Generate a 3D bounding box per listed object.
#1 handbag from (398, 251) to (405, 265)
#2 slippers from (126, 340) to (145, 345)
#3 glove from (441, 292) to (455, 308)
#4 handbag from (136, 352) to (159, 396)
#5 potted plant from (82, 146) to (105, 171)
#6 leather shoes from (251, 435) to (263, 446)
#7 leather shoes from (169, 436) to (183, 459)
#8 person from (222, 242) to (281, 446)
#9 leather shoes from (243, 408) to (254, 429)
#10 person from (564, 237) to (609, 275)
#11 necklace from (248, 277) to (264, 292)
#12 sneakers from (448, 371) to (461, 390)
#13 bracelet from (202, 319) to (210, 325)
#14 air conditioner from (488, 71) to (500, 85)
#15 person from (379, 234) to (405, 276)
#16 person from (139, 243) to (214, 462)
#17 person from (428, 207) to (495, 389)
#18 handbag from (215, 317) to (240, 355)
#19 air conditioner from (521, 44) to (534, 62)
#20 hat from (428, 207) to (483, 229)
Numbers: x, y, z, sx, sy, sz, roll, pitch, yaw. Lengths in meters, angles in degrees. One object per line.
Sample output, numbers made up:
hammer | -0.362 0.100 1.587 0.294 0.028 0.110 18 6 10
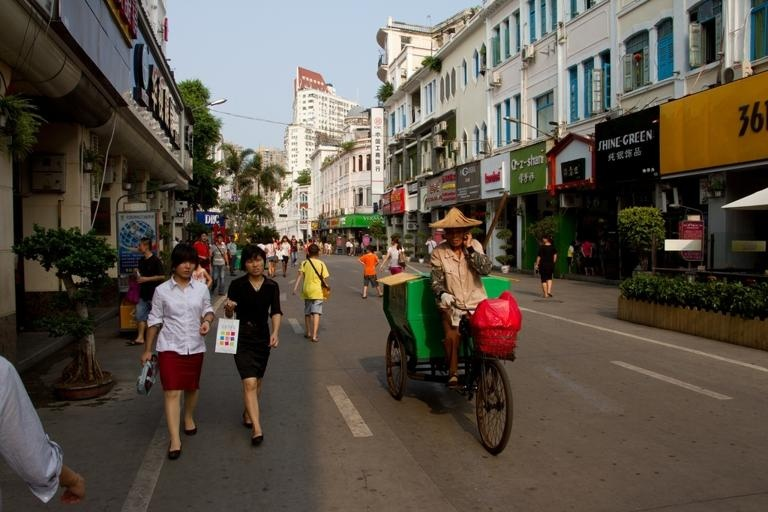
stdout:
handbag | 0.567 0.039 20.292 0.119 0.400 0.395 -3 -1 10
slippers | -5.348 1.854 13.596 0.292 0.089 0.153 6 -1 2
glove | 0.872 0.584 8.635 0.195 0.176 0.104 0 8 11
handbag | -3.142 1.590 8.456 0.256 0.592 0.608 -4 8 -20
potted plant | -7.321 -2.424 15.895 0.582 0.645 0.613 0 9 -18
leather shoes | -1.687 2.448 8.458 0.122 0.121 0.116 4 -2 15
leather shoes | -2.700 2.476 8.209 0.201 0.177 0.601 0 -3 -13
person | -1.797 1.123 8.811 0.745 2.610 1.163 -2 7 -10
leather shoes | -1.945 2.298 9.008 0.157 0.203 0.489 1 -5 -17
person | 8.900 0.009 27.853 0.849 1.574 1.953 -3 8 -18
necklace | -1.764 0.369 8.758 0.140 0.202 0.081 0 -13 -14
sneakers | 0.972 1.688 8.686 0.185 0.249 0.579 0 -11 0
bracelet | -2.389 0.874 8.536 0.039 0.041 0.076 -5 29 -2
air conditioner | 6.109 -9.804 34.749 0.438 0.809 1.044 -2 8 -5
person | 0.337 0.270 21.424 0.846 1.804 0.512 0 0 -16
person | -2.712 1.183 8.462 0.889 2.678 0.725 -7 9 -40
person | 1.060 0.523 8.945 0.815 2.373 0.961 3 8 26
handbag | -2.099 1.081 8.536 0.300 0.535 0.389 -3 8 -15
air conditioner | 7.072 -9.913 30.901 0.460 0.821 0.761 -2 8 -11
hat | 1.036 -0.509 9.193 0.451 0.206 0.483 -3 -1 -7
